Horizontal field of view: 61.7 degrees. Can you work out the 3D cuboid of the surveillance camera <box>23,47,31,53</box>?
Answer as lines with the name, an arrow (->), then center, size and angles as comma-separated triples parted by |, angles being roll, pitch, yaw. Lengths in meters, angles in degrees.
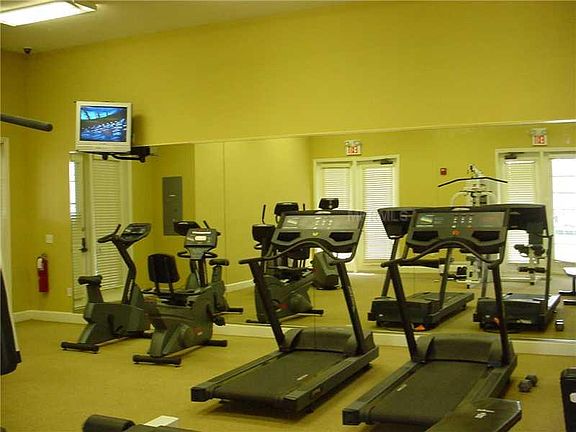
surveillance camera -> -4.193, -2.659, 7.758 | 0.097, 0.050, 0.085 | -2, 2, 22

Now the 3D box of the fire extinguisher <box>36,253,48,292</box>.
fire extinguisher -> -3.978, 0.936, 7.811 | 0.214, 0.651, 0.108 | -1, 6, 31

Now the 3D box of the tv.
tv -> -2.696, -1.307, 7.056 | 1.075, 0.671, 0.518 | 1, -1, 1

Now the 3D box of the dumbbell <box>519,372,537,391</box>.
dumbbell -> 2.299, 1.585, 4.607 | 0.094, 0.077, 0.282 | 17, 10, 40

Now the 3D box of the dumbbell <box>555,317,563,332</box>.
dumbbell -> 3.160, 1.264, 5.581 | 0.090, 0.145, 0.035 | -2, 5, 18
